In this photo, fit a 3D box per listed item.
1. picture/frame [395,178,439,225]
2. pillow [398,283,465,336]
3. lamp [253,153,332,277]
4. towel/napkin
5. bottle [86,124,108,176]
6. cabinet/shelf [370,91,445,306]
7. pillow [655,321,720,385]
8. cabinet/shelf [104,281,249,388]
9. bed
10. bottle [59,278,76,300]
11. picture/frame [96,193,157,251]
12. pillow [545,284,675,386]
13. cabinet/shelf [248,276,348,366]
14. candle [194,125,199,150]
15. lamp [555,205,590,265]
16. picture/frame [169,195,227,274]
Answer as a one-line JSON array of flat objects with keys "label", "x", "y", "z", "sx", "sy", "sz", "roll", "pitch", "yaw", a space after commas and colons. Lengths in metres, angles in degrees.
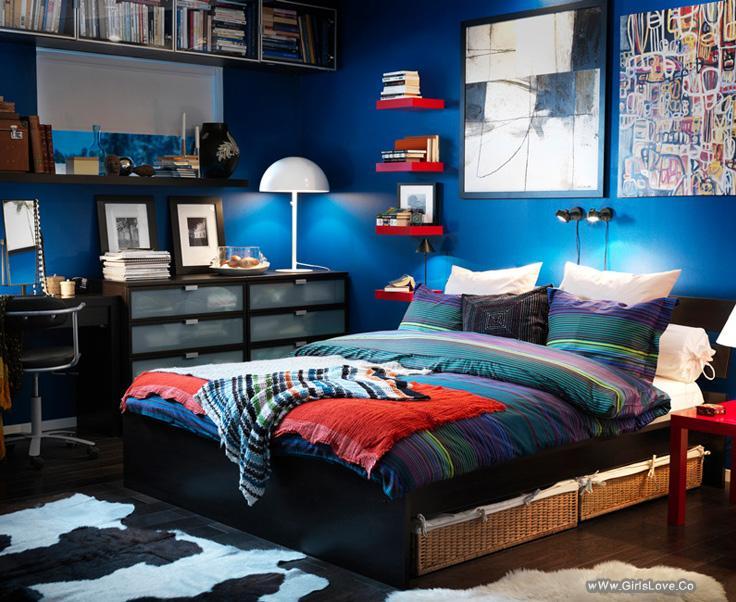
[{"label": "picture/frame", "x": 0.381, "y": -0.753, "z": 4.894, "sx": 0.028, "sy": 0.363, "sz": 0.442, "roll": -8, "pitch": 12, "yaw": -38}, {"label": "pillow", "x": 0.409, "y": 0.050, "z": 3.898, "sx": 0.314, "sy": 0.264, "sz": 0.089, "roll": -3, "pitch": -39, "yaw": 42}, {"label": "lamp", "x": -0.629, "y": -0.754, "z": 5.506, "sx": 0.624, "sy": 0.993, "sz": 0.582, "roll": -9, "pitch": 14, "yaw": -30}, {"label": "towel/napkin", "x": -0.266, "y": 0.478, "z": 2.733, "sx": 0.767, "sy": 0.181, "sz": 0.726, "roll": -5, "pitch": 7, "yaw": -36}, {"label": "bottle", "x": -2.012, "y": -1.132, "z": 4.676, "sx": 0.088, "sy": 0.358, "sz": 0.249, "roll": -5, "pitch": 13, "yaw": -15}, {"label": "cabinet/shelf", "x": 0.267, "y": -0.790, "z": 4.825, "sx": 0.623, "sy": 1.491, "sz": 0.588, "roll": 6, "pitch": 14, "yaw": 31}, {"label": "pillow", "x": 1.685, "y": 0.284, "z": 3.505, "sx": 0.344, "sy": 0.298, "sz": 0.398, "roll": 3, "pitch": 3, "yaw": -23}, {"label": "cabinet/shelf", "x": -1.362, "y": 0.217, "z": 4.292, "sx": 0.901, "sy": 0.653, "sz": 0.333, "roll": -3, "pitch": 3, "yaw": -39}, {"label": "bed", "x": 0.385, "y": 0.396, "z": 2.744, "sx": 1.528, "sy": 0.500, "sz": 1.508, "roll": -4, "pitch": 6, "yaw": -39}, {"label": "bottle", "x": -2.086, "y": -0.084, "z": 4.359, "sx": 0.146, "sy": 0.148, "sz": 0.143, "roll": -2, "pitch": 5, "yaw": -37}, {"label": "picture/frame", "x": -1.864, "y": -0.606, "z": 4.789, "sx": 0.555, "sy": 0.524, "sz": 0.048, "roll": -5, "pitch": 2, "yaw": -44}, {"label": "pillow", "x": 1.247, "y": 0.174, "z": 3.377, "sx": 0.685, "sy": 0.426, "sz": 0.248, "roll": 7, "pitch": 4, "yaw": 44}, {"label": "cabinet/shelf", "x": -0.588, "y": 0.145, "z": 4.862, "sx": 0.798, "sy": 0.560, "sz": 0.291, "roll": -4, "pitch": 4, "yaw": -38}, {"label": "candle", "x": -1.370, "y": -1.310, "z": 5.060, "sx": 0.050, "sy": 0.196, "sz": 0.204, "roll": -5, "pitch": 12, "yaw": -15}, {"label": "lamp", "x": 1.314, "y": -0.398, "z": 4.069, "sx": 0.171, "sy": 0.374, "sz": 0.104, "roll": -6, "pitch": 11, "yaw": -13}, {"label": "picture/frame", "x": -1.405, "y": -0.548, "z": 5.176, "sx": 0.179, "sy": 0.616, "sz": 0.516, "roll": 7, "pitch": 15, "yaw": 35}]
